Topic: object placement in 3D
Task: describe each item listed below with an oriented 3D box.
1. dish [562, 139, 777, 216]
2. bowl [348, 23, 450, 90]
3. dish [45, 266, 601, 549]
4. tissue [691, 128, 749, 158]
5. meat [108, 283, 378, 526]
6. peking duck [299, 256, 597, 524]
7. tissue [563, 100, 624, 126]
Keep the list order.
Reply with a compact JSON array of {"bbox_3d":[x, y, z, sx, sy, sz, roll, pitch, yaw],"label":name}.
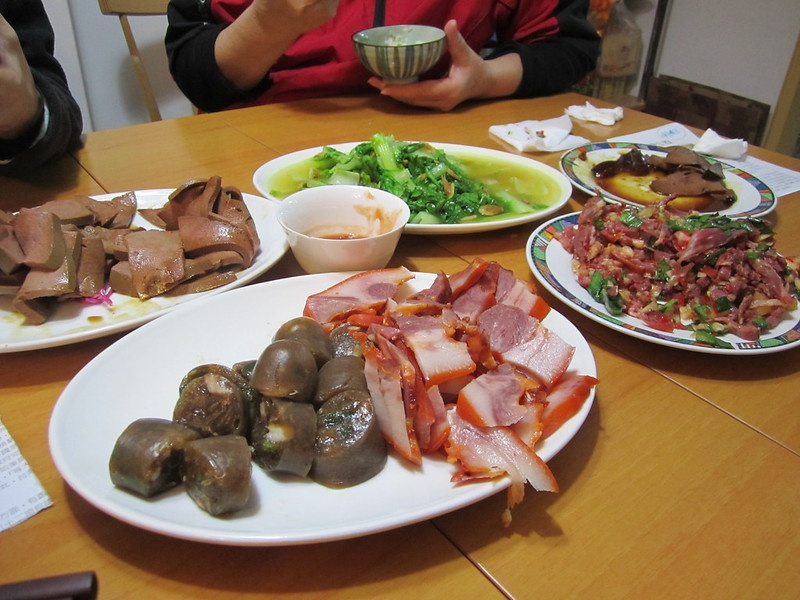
[{"bbox_3d":[0.981,-0.404,2.147,0.489,0.069,0.474,-7,31,-15],"label":"dish"},{"bbox_3d":[-0.009,-1.177,2.911,0.435,0.246,0.352,2,40,-1],"label":"bowl"},{"bbox_3d":[-0.209,0.233,1.211,0.817,0.107,0.544,-8,41,-15],"label":"dish"},{"bbox_3d":[1.307,-0.605,2.468,0.159,0.059,0.159,19,43,25],"label":"tissue"},{"bbox_3d":[-0.263,0.212,1.135,0.309,0.152,0.438,37,49,25],"label":"meat"},{"bbox_3d":[0.114,0.223,1.455,0.461,0.161,0.615,-29,58,-25],"label":"peking duck"},{"bbox_3d":[0.936,-0.901,2.915,0.183,0.060,0.168,16,33,24],"label":"tissue"}]
